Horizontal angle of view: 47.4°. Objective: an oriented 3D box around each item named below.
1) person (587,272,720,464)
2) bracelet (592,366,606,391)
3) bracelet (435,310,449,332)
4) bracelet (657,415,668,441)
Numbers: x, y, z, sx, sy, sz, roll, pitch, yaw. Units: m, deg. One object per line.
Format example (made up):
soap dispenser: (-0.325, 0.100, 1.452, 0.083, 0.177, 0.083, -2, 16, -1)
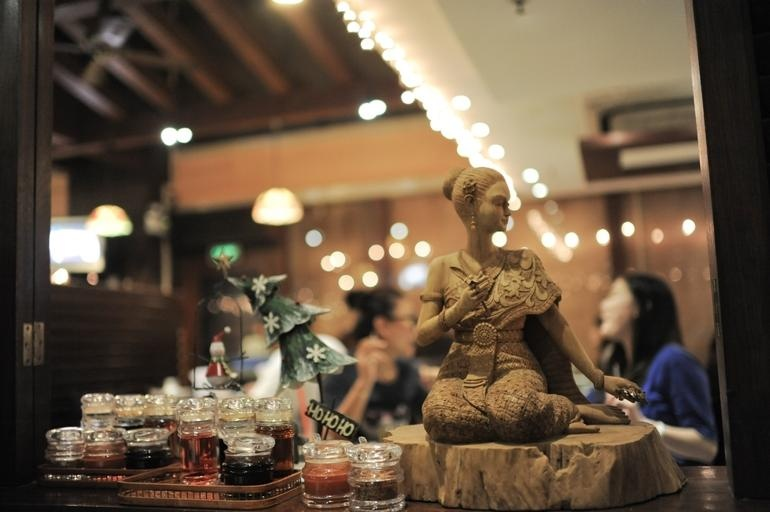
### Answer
person: (1.202, 0.485, 3.826, 0.239, 0.774, 0.376, -9, -42, 7)
bracelet: (0.619, 0.357, 2.581, 0.040, 0.056, 0.047, 7, 6, -6)
bracelet: (0.169, 0.189, 2.597, 0.027, 0.058, 0.044, -3, -14, -1)
bracelet: (1.227, 0.760, 3.865, 0.047, 0.077, 0.145, -5, -12, 17)
